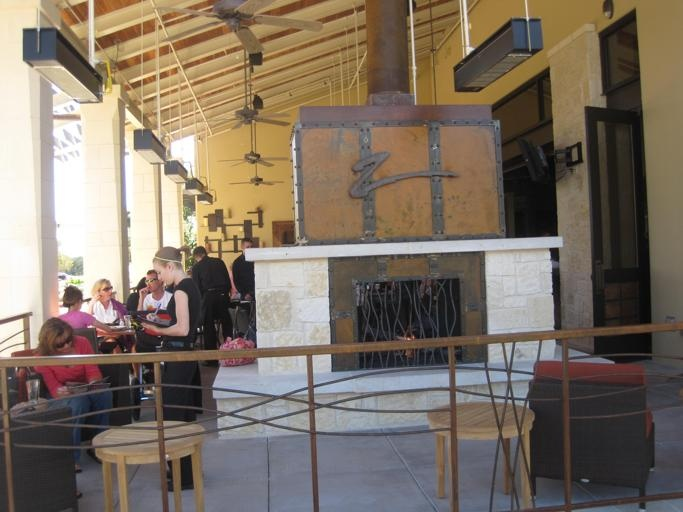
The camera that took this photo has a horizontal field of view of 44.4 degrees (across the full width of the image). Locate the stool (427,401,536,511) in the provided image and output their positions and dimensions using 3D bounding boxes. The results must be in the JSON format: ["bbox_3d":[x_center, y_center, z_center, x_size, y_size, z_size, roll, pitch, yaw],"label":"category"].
[{"bbox_3d":[1.343,1.963,8.052,0.978,0.810,1.001,0,-9,-5],"label":"stool"}]

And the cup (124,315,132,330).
[{"bbox_3d":[-2.722,0.853,10.706,0.089,0.186,0.323,-2,-5,-15],"label":"cup"}]

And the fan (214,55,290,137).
[{"bbox_3d":[-1.633,-3.054,14.675,1.351,1.578,1.509,-1,-5,1],"label":"fan"}]

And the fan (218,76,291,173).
[{"bbox_3d":[-1.651,-2.574,15.823,1.282,1.628,1.342,11,20,28],"label":"fan"}]

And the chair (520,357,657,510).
[{"bbox_3d":[2.504,1.675,8.466,1.038,1.541,1.496,0,-4,19],"label":"chair"}]

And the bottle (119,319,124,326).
[{"bbox_3d":[-2.972,0.910,11.340,0.085,0.093,0.048,0,-1,-4],"label":"bottle"}]

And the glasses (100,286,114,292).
[{"bbox_3d":[-3.233,0.457,11.525,0.169,0.066,0.156,-2,2,15],"label":"glasses"}]

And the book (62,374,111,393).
[{"bbox_3d":[-2.741,1.395,8.956,0.481,0.129,0.552,-2,-5,-20],"label":"book"}]

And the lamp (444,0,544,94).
[{"bbox_3d":[1.857,-2.507,9.969,0.418,0.661,1.381,-1,-5,-22],"label":"lamp"}]

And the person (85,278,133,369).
[{"bbox_3d":[-2.973,0.883,10.739,0.546,1.299,0.754,-6,-41,-20],"label":"person"}]
